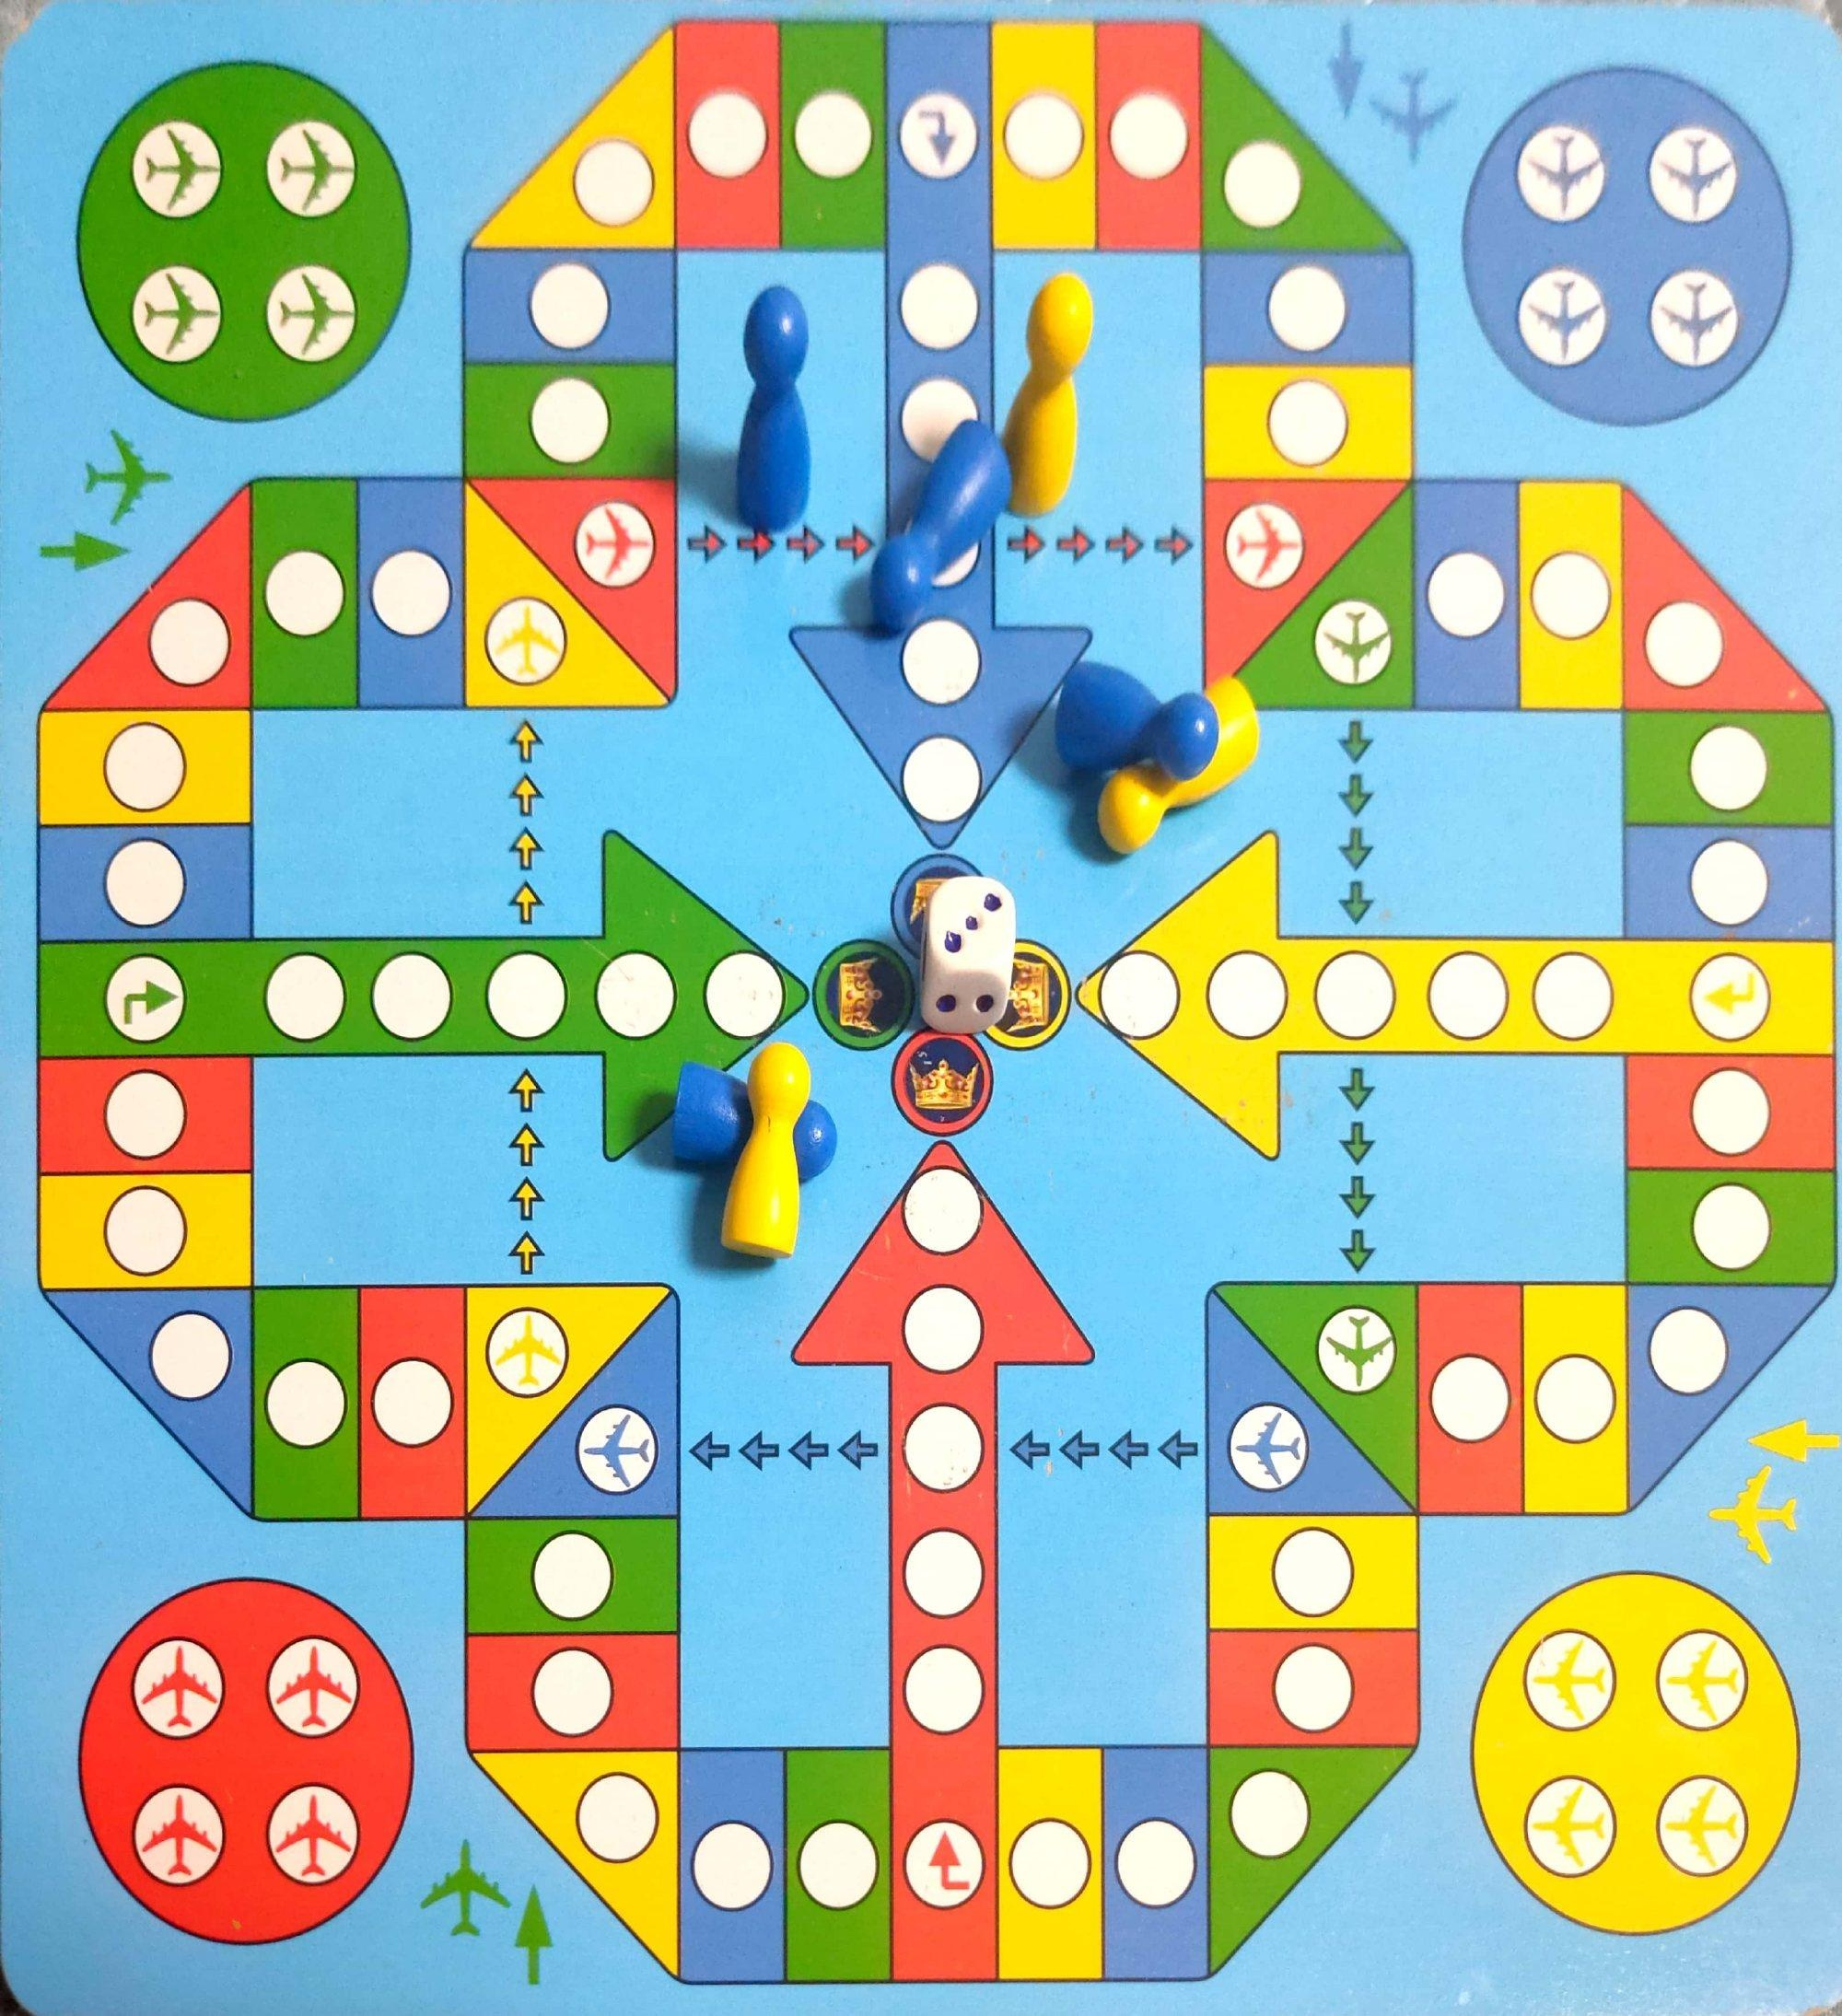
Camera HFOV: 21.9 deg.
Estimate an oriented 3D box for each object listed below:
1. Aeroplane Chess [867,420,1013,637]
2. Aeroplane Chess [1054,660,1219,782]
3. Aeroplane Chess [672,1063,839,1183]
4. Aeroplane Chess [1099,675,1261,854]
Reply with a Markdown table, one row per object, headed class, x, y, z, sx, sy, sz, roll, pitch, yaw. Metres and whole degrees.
| class | x | y | z | sx | sy | sz | roll | pitch | yaw |
| --- | --- | --- | --- | --- | --- | --- | --- | --- | --- |
| Aeroplane Chess | 0.012 | -0.266 | 2.563 | 0.056 | 0.123 | 0.047 | 43 | -12 | -24 |
| Aeroplane Chess | 0.110 | -0.154 | 2.517 | 0.082 | 0.053 | 0.034 | 23 | 12 | 27 |
| Aeroplane Chess | -0.086 | 0.066 | 2.564 | 0.088 | 0.050 | 0.050 | 13 | -22 | -4 |
| Aeroplane Chess | 0.132 | -0.132 | 2.559 | 0.114 | 0.055 | 0.041 | -39 | 6 | -2 |
